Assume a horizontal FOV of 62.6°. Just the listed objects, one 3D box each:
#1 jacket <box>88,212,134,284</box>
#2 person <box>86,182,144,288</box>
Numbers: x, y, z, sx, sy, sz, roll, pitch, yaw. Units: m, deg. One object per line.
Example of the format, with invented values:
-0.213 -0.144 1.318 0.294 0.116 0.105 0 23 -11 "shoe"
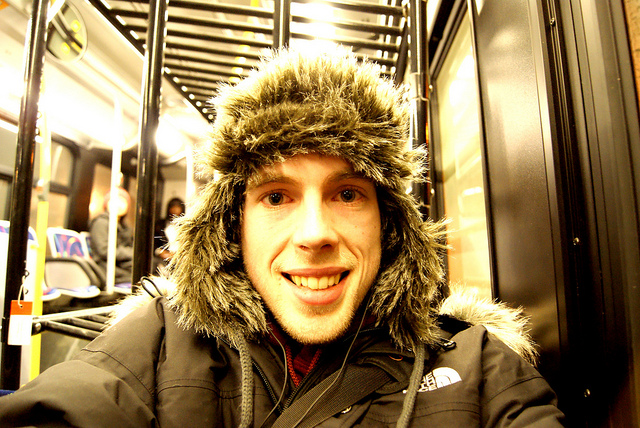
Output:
-1.877 0.304 4.753 0.400 0.611 0.469 5 -1 1 "jacket"
-1.795 0.265 4.702 0.614 0.982 0.452 -3 -8 30 "person"
